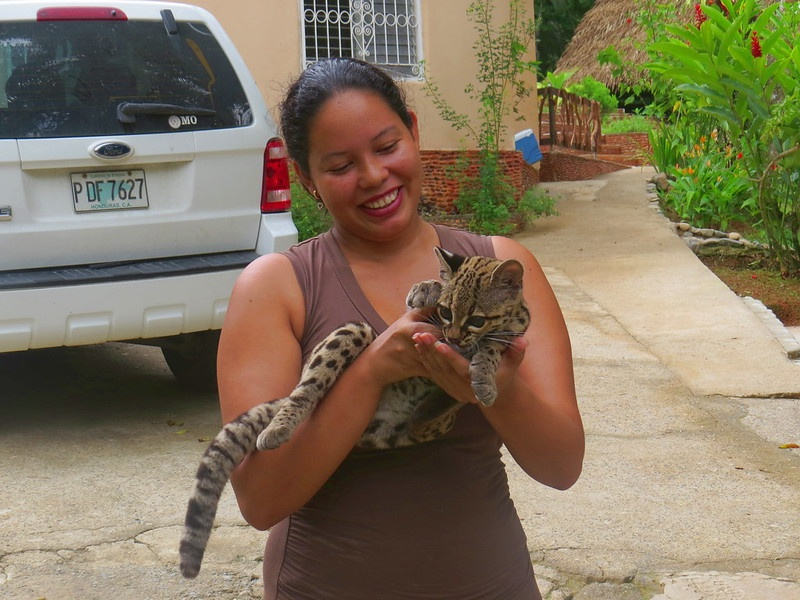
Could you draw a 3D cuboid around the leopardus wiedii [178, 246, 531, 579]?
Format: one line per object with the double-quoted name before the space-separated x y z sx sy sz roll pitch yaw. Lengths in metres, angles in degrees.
"leopardus wiedii" -0.263 0.255 2.464 0.996 1.172 0.496 5 49 -39
